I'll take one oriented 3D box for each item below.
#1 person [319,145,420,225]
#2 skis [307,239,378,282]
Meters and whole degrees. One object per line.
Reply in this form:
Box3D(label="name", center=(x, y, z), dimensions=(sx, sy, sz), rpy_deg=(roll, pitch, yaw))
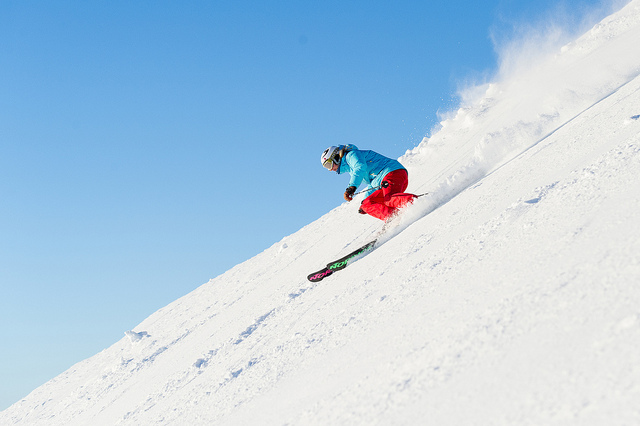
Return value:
Box3D(label="person", center=(1.341, -0.575, 16.481), dimensions=(1.277, 2.109, 0.911), rpy_deg=(-28, -45, -20))
Box3D(label="skis", center=(0.583, 1.137, 16.018), dimensions=(1.486, 0.256, 0.270), rpy_deg=(-29, 18, -4))
